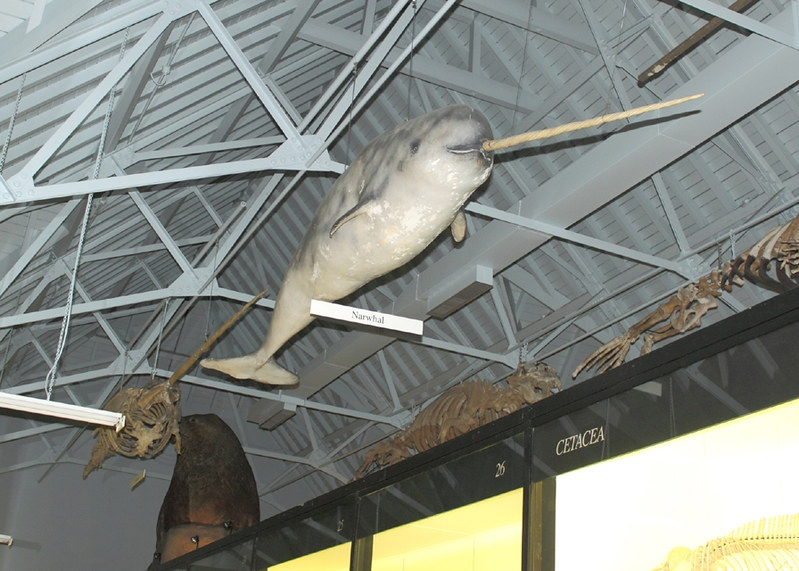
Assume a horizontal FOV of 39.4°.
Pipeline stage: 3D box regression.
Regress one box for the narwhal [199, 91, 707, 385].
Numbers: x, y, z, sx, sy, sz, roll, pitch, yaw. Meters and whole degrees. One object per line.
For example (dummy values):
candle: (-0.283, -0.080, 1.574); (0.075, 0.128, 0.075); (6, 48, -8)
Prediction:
narwhal: (-0.284, -0.506, 9.315); (1.822, 0.727, 3.604); (14, -41, -43)
